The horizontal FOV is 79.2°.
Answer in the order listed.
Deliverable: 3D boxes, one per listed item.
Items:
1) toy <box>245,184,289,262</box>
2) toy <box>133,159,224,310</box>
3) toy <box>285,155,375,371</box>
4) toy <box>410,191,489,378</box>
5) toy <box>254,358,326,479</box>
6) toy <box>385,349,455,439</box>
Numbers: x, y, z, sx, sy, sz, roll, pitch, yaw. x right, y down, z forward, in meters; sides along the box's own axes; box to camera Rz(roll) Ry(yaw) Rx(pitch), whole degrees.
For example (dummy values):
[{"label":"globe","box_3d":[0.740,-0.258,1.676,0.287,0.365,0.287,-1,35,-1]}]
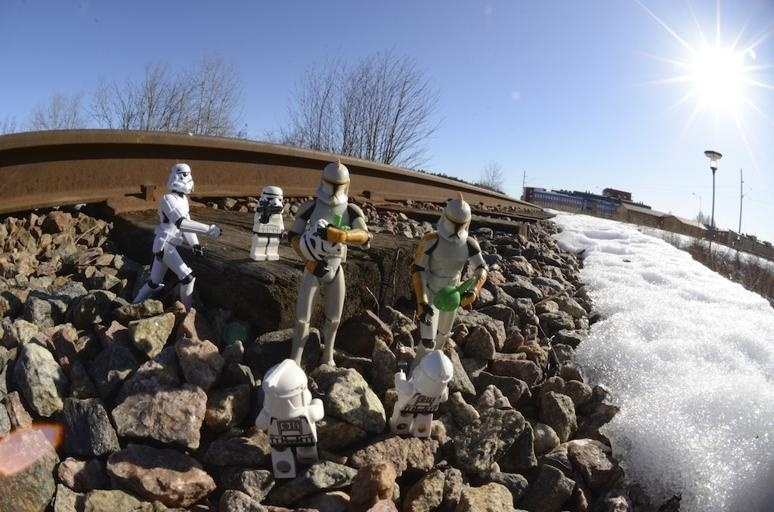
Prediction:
[{"label":"toy","box_3d":[-0.940,-0.270,3.736,0.264,0.549,0.344,2,12,-17]},{"label":"toy","box_3d":[-1.630,-0.152,3.649,0.598,1.102,0.641,-1,13,-30]},{"label":"toy","box_3d":[-0.409,0.079,3.304,0.563,1.467,0.358,3,11,-14]},{"label":"toy","box_3d":[0.478,0.184,3.497,0.524,1.279,0.400,-2,13,-35]},{"label":"toy","box_3d":[-0.576,0.976,2.899,0.418,0.777,0.341,-4,22,1]},{"label":"toy","box_3d":[0.246,0.873,3.128,0.370,0.687,0.372,7,29,-24]}]
